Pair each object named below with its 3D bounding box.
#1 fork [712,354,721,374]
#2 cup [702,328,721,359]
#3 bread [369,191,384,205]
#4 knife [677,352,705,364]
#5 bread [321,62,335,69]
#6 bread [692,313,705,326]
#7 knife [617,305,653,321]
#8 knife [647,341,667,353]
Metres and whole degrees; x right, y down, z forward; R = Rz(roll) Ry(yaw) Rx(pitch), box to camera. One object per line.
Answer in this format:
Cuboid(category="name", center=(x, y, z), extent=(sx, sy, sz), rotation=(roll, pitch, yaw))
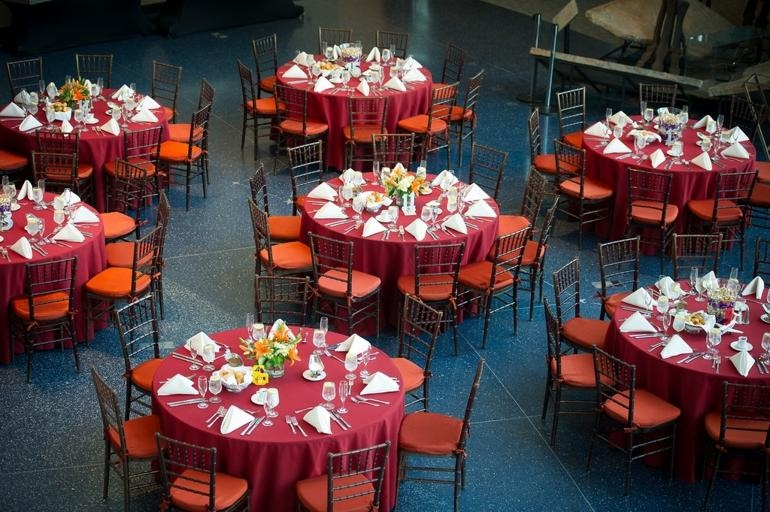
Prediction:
Cuboid(category="fork", center=(3.245, 1.050, 5.880), extent=(0.066, 0.018, 0.236), rotation=(11, 30, 12))
Cuboid(category="cup", center=(3.262, 0.876, 5.987), extent=(0.161, 0.289, 0.152), rotation=(-3, 33, 2))
Cuboid(category="bread", center=(-0.121, -0.759, 7.887), extent=(0.152, 0.074, 0.160), rotation=(17, 44, 4))
Cuboid(category="knife", center=(3.039, 1.000, 5.953), extent=(0.367, 0.017, 0.106), rotation=(-22, 44, -35))
Cuboid(category="bread", center=(-1.073, -3.564, 11.262), extent=(0.280, 0.096, 0.275), rotation=(2, 7, 9))
Cuboid(category="bread", center=(3.293, 0.645, 6.284), extent=(0.117, 0.088, 0.208), rotation=(12, 17, 43))
Cuboid(category="knife", center=(2.722, 0.607, 6.551), extent=(0.301, 0.043, 0.152), rotation=(12, 48, 24))
Cuboid(category="knife", center=(2.769, 0.904, 6.099), extent=(0.282, 0.019, 0.072), rotation=(-22, 54, -33))
